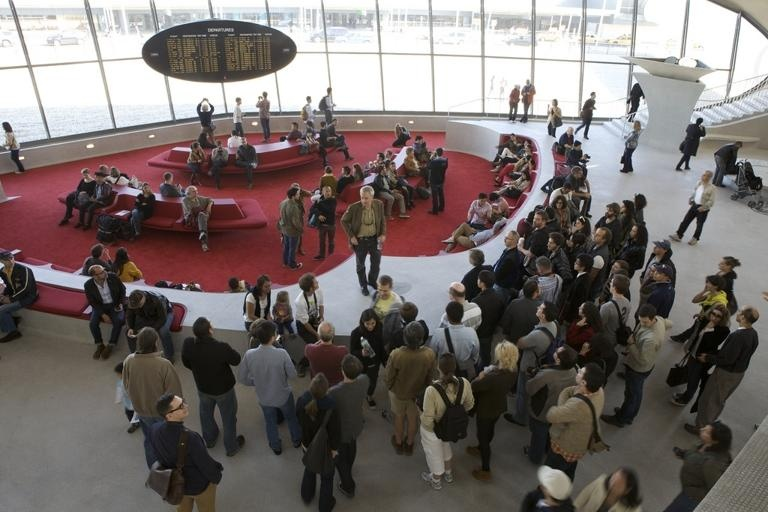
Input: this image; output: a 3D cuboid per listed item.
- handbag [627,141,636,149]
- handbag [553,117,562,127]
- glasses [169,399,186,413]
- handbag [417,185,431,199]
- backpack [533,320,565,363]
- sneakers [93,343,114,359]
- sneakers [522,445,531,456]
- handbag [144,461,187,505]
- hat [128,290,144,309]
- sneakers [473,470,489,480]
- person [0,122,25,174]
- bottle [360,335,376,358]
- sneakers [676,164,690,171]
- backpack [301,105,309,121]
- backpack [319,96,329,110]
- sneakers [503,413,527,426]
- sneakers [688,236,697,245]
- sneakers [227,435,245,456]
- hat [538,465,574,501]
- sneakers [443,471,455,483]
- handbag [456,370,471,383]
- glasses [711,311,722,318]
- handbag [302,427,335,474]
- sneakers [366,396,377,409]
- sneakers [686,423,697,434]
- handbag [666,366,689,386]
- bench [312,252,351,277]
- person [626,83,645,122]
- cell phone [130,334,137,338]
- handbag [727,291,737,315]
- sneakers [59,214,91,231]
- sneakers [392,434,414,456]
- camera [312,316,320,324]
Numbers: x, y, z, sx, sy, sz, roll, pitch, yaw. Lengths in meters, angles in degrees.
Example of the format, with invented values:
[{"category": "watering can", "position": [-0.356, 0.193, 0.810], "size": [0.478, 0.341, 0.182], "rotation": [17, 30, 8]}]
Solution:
[{"category": "handbag", "position": [6.457, -2.912, 12.535], "size": [0.208, 0.177, 0.137], "rotation": [-26, 40, 1]}, {"category": "handbag", "position": [5.445, -4.216, 15.158], "size": [0.187, 0.341, 0.254], "rotation": [-35, 60, 0]}, {"category": "glasses", "position": [-2.097, 1.526, 4.933], "size": [0.121, 0.036, 0.118], "rotation": [9, 19, 18]}, {"category": "handbag", "position": [1.070, -1.797, 13.545], "size": [0.399, 0.389, 0.409], "rotation": [14, 15, -8]}, {"category": "backpack", "position": [2.003, 1.048, 5.892], "size": [0.269, 0.511, 0.363], "rotation": [-8, 25, -29]}, {"category": "sneakers", "position": [-4.233, 1.442, 7.314], "size": [0.165, 0.101, 0.270], "rotation": [-1, 19, -12]}, {"category": "sneakers", "position": [1.799, 2.436, 6.081], "size": [0.059, 0.114, 0.122], "rotation": [1, 22, 8]}, {"category": "handbag", "position": [-2.240, 2.321, 4.967], "size": [0.376, 0.370, 0.189], "rotation": [3, 22, 11]}, {"category": "hat", "position": [-3.258, 0.581, 6.374], "size": [0.174, 0.294, 0.202], "rotation": [-12, 24, -22]}, {"category": "sneakers", "position": [1.183, 2.637, 5.843], "size": [0.208, 0.096, 0.064], "rotation": [4, 23, 15]}, {"category": "person", "position": [-10.986, -3.232, 14.331], "size": [0.357, 1.483, 1.294], "rotation": [-17, 26, -33]}, {"category": "bottle", "position": [-0.186, 1.133, 5.897], "size": [0.186, 0.301, 0.218], "rotation": [-3, 22, -2]}, {"category": "sneakers", "position": [8.294, -2.454, 13.385], "size": [0.180, 0.175, 0.089], "rotation": [16, 62, 28]}, {"category": "backpack", "position": [-2.812, -5.014, 16.913], "size": [0.213, 0.505, 0.363], "rotation": [2, 12, 18]}, {"category": "backpack", "position": [-2.126, -5.399, 17.068], "size": [0.328, 0.431, 0.121], "rotation": [9, 25, 25]}, {"category": "sneakers", "position": [1.740, 2.169, 6.426], "size": [0.301, 0.117, 0.108], "rotation": [26, 40, 30]}, {"category": "sneakers", "position": [6.369, -0.328, 9.943], "size": [0.240, 0.103, 0.088], "rotation": [-27, 31, -33]}, {"category": "sneakers", "position": [-1.846, 2.402, 6.134], "size": [0.105, 0.176, 0.272], "rotation": [12, 38, 13]}, {"category": "hat", "position": [1.568, 2.099, 4.502], "size": [0.228, 0.161, 0.305], "rotation": [-22, 56, -23]}, {"category": "sneakers", "position": [0.787, 2.655, 5.821], "size": [0.080, 0.085, 0.212], "rotation": [-2, 23, -1]}, {"category": "handbag", "position": [0.973, 1.463, 5.928], "size": [0.122, 0.162, 0.173], "rotation": [-8, -18, 32]}, {"category": "glasses", "position": [4.301, 0.751, 6.232], "size": [0.072, 0.052, 0.096], "rotation": [15, 23, 25]}, {"category": "handbag", "position": [-0.696, 2.118, 5.303], "size": [0.351, 0.568, 0.269], "rotation": [15, 34, -5]}, {"category": "sneakers", "position": [-0.162, 1.998, 6.603], "size": [0.082, 0.058, 0.153], "rotation": [-18, 41, -21]}, {"category": "sneakers", "position": [4.024, 2.253, 6.319], "size": [0.157, 0.104, 0.059], "rotation": [27, 62, 20]}, {"category": "handbag", "position": [4.020, 1.631, 6.588], "size": [0.201, 0.346, 0.144], "rotation": [11, 57, 20]}, {"category": "bench", "position": [-0.927, 0.210, 8.897], "size": [0.362, 0.156, 1.091], "rotation": [13, 27, 19]}, {"category": "person", "position": [8.594, -5.321, 16.569], "size": [0.430, 1.207, 1.456], "rotation": [8, 24, 24]}, {"category": "cell phone", "position": [-3.460, 1.102, 6.676], "size": [0.080, 0.038, 0.107], "rotation": [1, -1, -9]}, {"category": "handbag", "position": [5.080, 0.676, 6.995], "size": [0.117, 0.315, 0.235], "rotation": [2, -5, 13]}, {"category": "sneakers", "position": [-7.353, -0.796, 11.538], "size": [0.656, 0.273, 0.207], "rotation": [17, 19, -13]}, {"category": "sneakers", "position": [0.234, 2.396, 6.129], "size": [0.151, 0.110, 0.277], "rotation": [-1, 26, -3]}, {"category": "camera", "position": [-0.946, 0.880, 6.670], "size": [0.079, 0.089, 0.100], "rotation": [-11, 57, -30]}]
